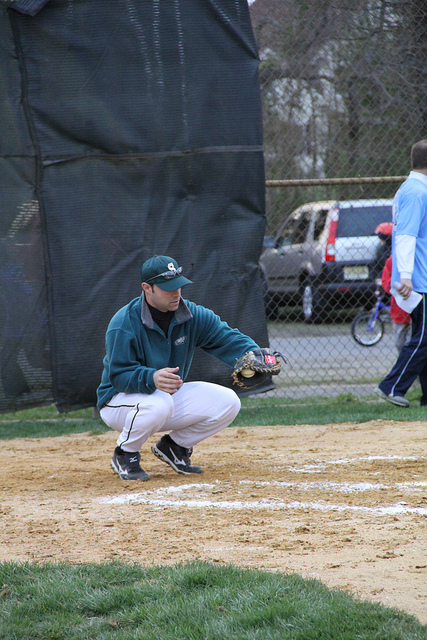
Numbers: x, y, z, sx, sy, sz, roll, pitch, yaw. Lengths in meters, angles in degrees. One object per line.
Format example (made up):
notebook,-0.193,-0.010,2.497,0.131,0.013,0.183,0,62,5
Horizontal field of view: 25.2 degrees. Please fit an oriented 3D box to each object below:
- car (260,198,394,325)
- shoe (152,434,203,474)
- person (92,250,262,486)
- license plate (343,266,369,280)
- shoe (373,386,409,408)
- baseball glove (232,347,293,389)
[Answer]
car,1.563,-0.759,12.529,1.501,1.276,2.746,-3,6,-16
shoe,-0.200,0.685,5.038,0.276,0.188,0.441,-2,3,-31
person,-0.158,0.251,4.843,0.938,1.054,0.670,-1,6,-1
license plate,1.673,-0.553,11.345,0.314,0.184,0.161,0,-9,2
shoe,1.193,0.534,6.440,0.273,0.115,0.098,25,9,-6
baseball glove,0.227,0.229,4.789,0.258,0.190,0.300,-6,1,11
